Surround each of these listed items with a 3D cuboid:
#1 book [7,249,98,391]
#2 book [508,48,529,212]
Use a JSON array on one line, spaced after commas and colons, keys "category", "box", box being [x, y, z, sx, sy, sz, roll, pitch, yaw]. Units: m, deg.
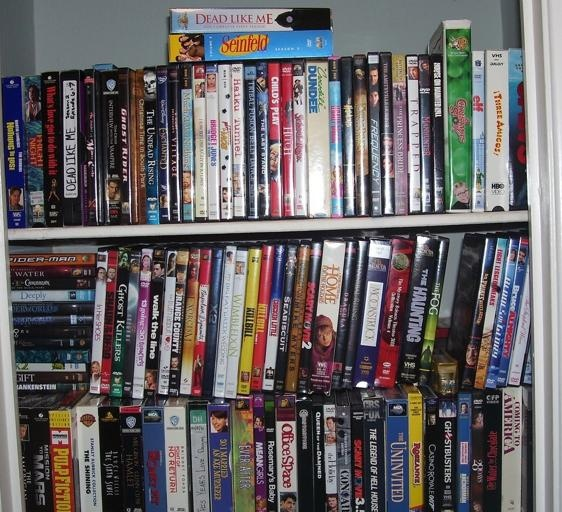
[{"category": "book", "box": [-0.474, 0.131, 1.702, 0.223, 0.323, 0.314, -1, 3, -12]}, {"category": "book", "box": [0.459, -0.241, 1.438, 0.032, 0.307, 0.052, -1, 2, -8]}]
